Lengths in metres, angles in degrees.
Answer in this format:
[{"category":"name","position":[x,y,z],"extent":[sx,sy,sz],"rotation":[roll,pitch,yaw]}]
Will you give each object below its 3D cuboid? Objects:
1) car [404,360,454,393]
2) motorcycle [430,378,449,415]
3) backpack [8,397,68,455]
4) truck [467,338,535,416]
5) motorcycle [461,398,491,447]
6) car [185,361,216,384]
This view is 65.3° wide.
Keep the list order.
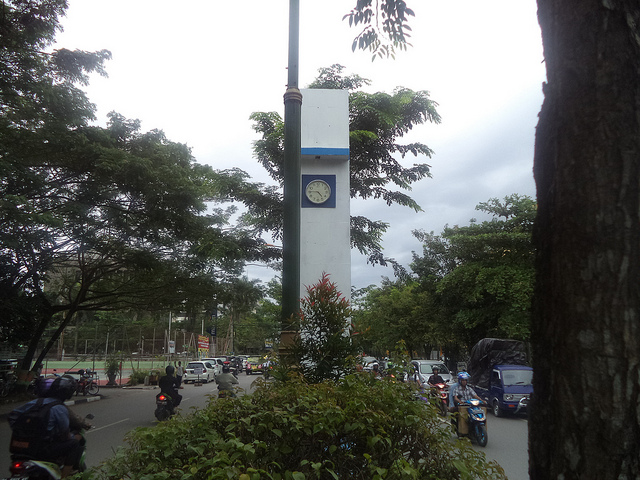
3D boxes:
[{"category":"car","position":[5.271,6.458,23.540],"extent":[1.710,1.656,3.418],"rotation":[-1,-9,3]},{"category":"motorcycle","position":[4.003,5.021,16.546],"extent":[0.616,0.949,1.667],"rotation":[-6,-1,6]},{"category":"backpack","position":[-3.241,2.151,5.741],"extent":[0.441,0.619,0.628],"rotation":[0,-35,-7]},{"category":"truck","position":[7.341,5.507,20.390],"extent":[1.893,2.665,5.256],"rotation":[-2,-10,3]},{"category":"motorcycle","position":[3.850,4.476,12.333],"extent":[0.577,1.124,0.784],"rotation":[-4,-19,15]},{"category":"car","position":[-8.352,9.125,34.694],"extent":[1.281,1.586,3.263],"rotation":[0,-19,3]}]
